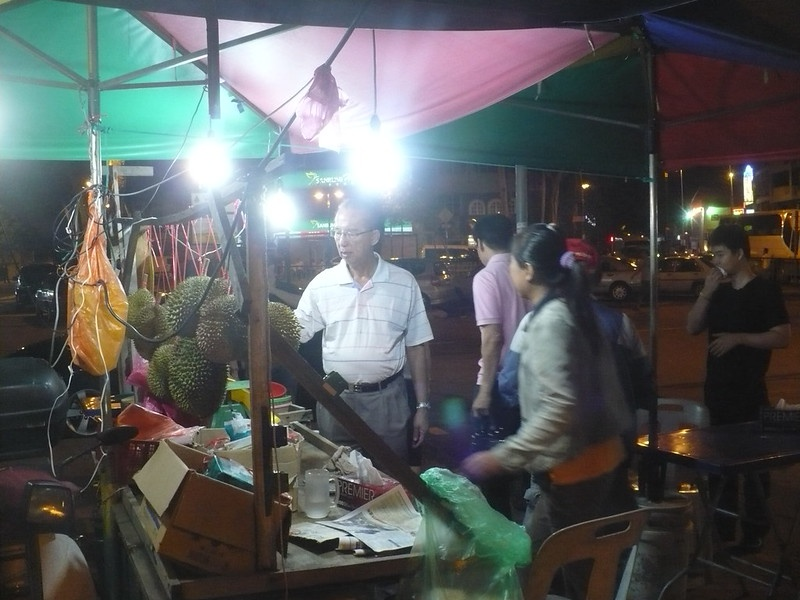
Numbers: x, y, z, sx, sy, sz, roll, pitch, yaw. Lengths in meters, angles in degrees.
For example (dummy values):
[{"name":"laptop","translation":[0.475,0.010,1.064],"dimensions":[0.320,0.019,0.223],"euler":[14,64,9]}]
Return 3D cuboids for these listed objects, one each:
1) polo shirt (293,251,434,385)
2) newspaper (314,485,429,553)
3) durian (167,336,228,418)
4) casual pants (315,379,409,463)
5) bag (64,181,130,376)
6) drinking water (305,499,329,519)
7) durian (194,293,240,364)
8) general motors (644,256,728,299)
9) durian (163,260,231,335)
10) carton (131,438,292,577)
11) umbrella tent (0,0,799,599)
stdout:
[{"name":"polo shirt","translation":[-0.256,0.107,4.689],"dimensions":[0.918,0.815,0.473],"euler":[0,4,0]},{"name":"newspaper","translation":[-0.074,0.957,3.139],"dimensions":[0.434,0.053,0.456],"euler":[0,1,41]},{"name":"durian","translation":[-0.904,0.351,3.351],"dimensions":[0.258,0.345,0.346],"euler":[-6,-32,-4]},{"name":"casual pants","translation":[-0.258,0.765,4.635],"dimensions":[0.493,0.714,0.399],"euler":[9,7,-1]},{"name":"bag","translation":[-1.559,-0.078,3.688],"dimensions":[0.285,1.003,0.634],"euler":[-4,4,-27]},{"name":"drinking water","translation":[-0.376,0.931,3.229],"dimensions":[0.087,0.067,0.067],"euler":[5,-16,-16]},{"name":"durian","translation":[-0.766,0.129,3.009],"dimensions":[0.133,0.285,0.285],"euler":[-5,5,-36]},{"name":"general motors","translation":[5.553,-0.460,14.123],"dimensions":[1.812,0.896,1.102],"euler":[3,4,12]},{"name":"durian","translation":[-0.942,0.018,3.340],"dimensions":[0.261,0.280,0.245],"euler":[-12,15,-38]},{"name":"carton","translation":[-0.783,0.829,3.006],"dimensions":[0.605,0.434,0.544],"euler":[-4,4,-16]},{"name":"umbrella tent","translation":[-0.152,-0.322,6.394],"dimensions":[3.706,2.535,3.586],"euler":[-1,16,1]}]
